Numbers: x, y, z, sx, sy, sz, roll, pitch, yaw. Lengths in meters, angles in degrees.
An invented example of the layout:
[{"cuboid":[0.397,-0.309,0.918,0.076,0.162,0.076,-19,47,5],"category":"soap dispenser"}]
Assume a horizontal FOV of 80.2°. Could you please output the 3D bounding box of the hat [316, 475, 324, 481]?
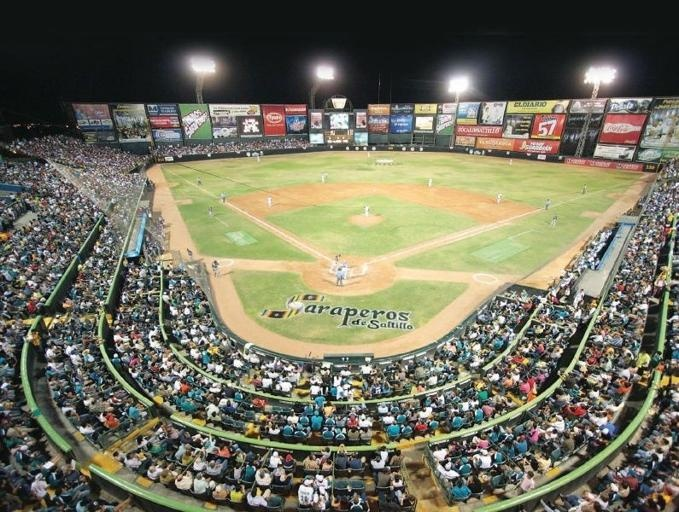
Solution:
[{"cuboid":[-0.837,9.263,16.818,0.308,0.284,0.297,-2,22,-1],"category":"hat"}]
